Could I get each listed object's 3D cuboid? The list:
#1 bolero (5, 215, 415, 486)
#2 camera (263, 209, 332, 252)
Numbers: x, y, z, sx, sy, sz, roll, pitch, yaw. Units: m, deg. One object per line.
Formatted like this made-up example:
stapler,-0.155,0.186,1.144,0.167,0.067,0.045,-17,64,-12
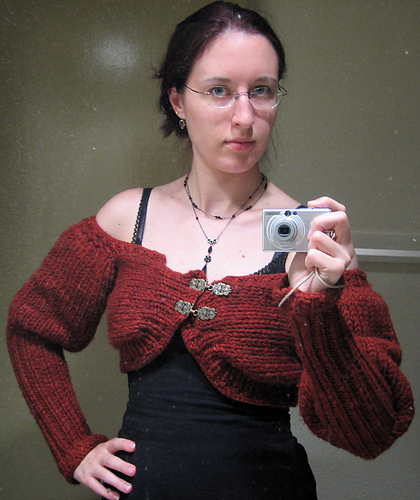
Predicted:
bolero,-0.009,0.183,0.922,0.705,0.345,0.238,8,-16,4
camera,0.127,-0.027,0.770,0.097,0.068,0.030,0,21,4
